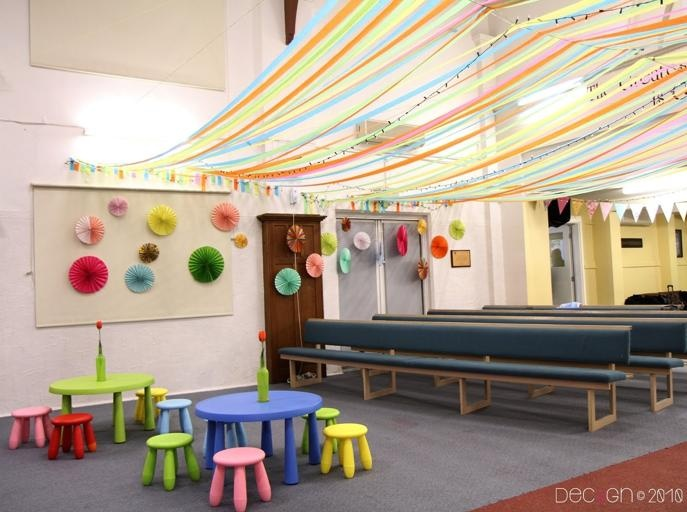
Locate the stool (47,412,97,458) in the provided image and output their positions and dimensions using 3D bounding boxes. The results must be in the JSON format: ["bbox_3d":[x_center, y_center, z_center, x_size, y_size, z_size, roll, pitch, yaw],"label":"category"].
[{"bbox_3d":[-2.504,1.703,4.894,0.262,0.270,0.254,-17,-6,-11],"label":"stool"}]

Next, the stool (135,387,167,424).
[{"bbox_3d":[-2.181,1.648,5.818,0.286,0.285,0.294,-3,-5,6],"label":"stool"}]

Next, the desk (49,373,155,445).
[{"bbox_3d":[-2.584,1.580,5.368,0.984,0.560,0.966,16,-18,-38],"label":"desk"}]

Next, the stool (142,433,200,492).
[{"bbox_3d":[-1.431,1.645,4.139,0.333,0.270,0.348,-3,-12,28],"label":"stool"}]

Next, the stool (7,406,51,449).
[{"bbox_3d":[-3.052,1.667,5.085,0.368,0.438,0.313,-2,1,18],"label":"stool"}]

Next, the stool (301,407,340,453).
[{"bbox_3d":[-0.254,1.569,4.697,0.317,0.318,0.325,5,-6,6],"label":"stool"}]

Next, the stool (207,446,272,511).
[{"bbox_3d":[-0.770,1.598,3.805,0.454,0.401,0.352,-2,0,26],"label":"stool"}]

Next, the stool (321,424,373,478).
[{"bbox_3d":[0.022,1.542,4.306,0.433,0.355,0.556,-2,0,13],"label":"stool"}]

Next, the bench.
[{"bbox_3d":[1.412,1.229,6.123,4.138,0.833,1.282,-2,0,34],"label":"bench"}]

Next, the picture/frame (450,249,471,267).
[{"bbox_3d":[2.111,0.041,9.506,0.328,0.232,0.044,0,-1,-35],"label":"picture/frame"}]

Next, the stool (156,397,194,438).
[{"bbox_3d":[-1.649,1.591,5.078,0.359,0.305,0.357,1,-8,-42],"label":"stool"}]
